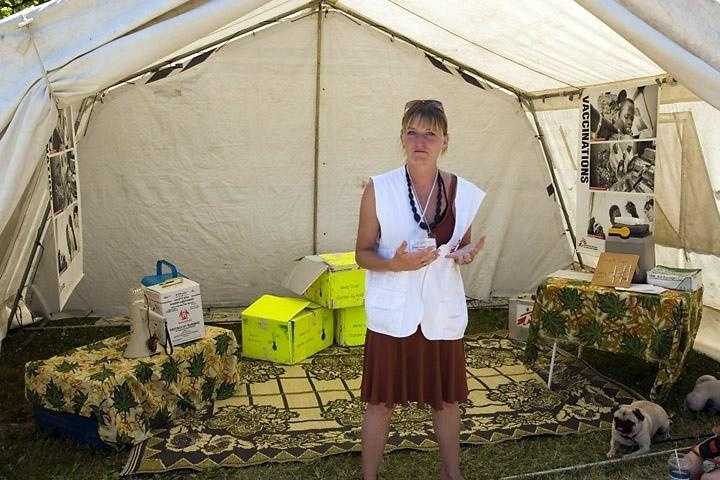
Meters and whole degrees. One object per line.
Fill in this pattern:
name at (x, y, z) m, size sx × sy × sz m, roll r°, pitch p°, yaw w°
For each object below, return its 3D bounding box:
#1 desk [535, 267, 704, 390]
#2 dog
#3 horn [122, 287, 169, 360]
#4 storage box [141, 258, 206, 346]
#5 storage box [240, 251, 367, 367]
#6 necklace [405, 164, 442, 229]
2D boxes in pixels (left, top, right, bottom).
desk at (2.419, 0.600, 4.650) m, size 1.325 × 1.116 × 1.064 m, roll 4°, pitch 6°, yaw 36°
dog at (2.114, 1.378, 3.801) m, size 0.526 × 0.232 × 0.322 m, roll -23°, pitch 14°, yaw -41°
horn at (-1.826, 0.677, 4.000) m, size 0.513 × 0.482 × 0.385 m, roll -3°, pitch 1°, yaw 37°
storage box at (-1.578, 0.461, 4.267) m, size 0.610 × 0.648 × 0.559 m, roll 5°, pitch 6°, yaw 42°
storage box at (-0.649, 0.706, 5.550) m, size 1.220 × 1.040 × 1.302 m, roll 3°, pitch 5°, yaw 27°
necklace at (0.370, -0.264, 2.977) m, size 0.205 × 0.361 × 0.211 m, roll -2°, pitch 10°, yaw -6°
